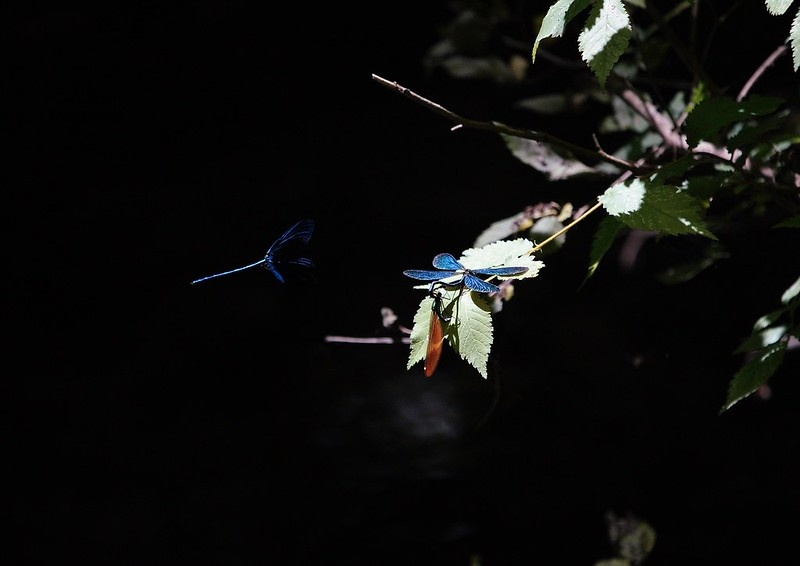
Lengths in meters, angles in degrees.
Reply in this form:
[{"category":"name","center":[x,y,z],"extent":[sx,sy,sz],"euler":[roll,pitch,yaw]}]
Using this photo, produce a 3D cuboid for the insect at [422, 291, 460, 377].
[{"category":"insect","center":[0.081,0.097,1.564],"extent":[0.066,0.044,0.145],"euler":[7,66,12]}]
